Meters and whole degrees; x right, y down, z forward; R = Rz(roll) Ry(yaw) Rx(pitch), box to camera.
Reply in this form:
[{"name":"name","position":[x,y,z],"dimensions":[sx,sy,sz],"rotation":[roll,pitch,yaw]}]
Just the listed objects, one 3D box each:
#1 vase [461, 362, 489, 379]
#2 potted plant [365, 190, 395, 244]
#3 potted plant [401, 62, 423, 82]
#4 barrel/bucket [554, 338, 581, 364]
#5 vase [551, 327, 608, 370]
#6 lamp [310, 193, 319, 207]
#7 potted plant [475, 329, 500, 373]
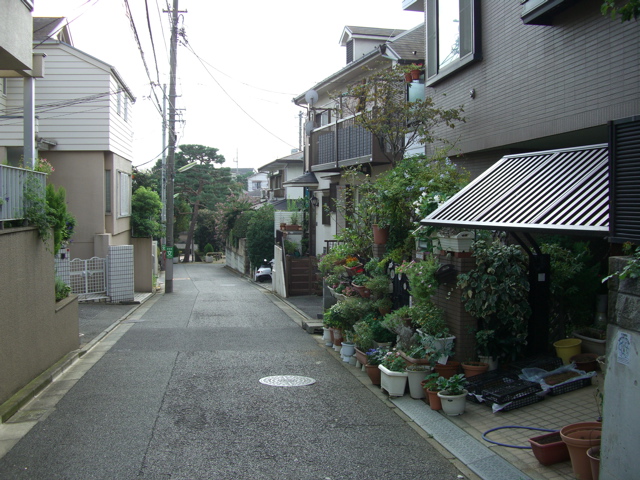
[{"name":"vase","position":[2.650,2.223,9.736],"dimensions":[0.278,0.199,0.287],"rotation":[-3,-3,3]},{"name":"potted plant","position":[1.452,-0.541,13.658],"dimensions":[0.449,1.354,1.524],"rotation":[1,2,-3]},{"name":"potted plant","position":[2.698,-4.902,16.521],"dimensions":[0.589,0.488,0.633],"rotation":[1,-6,-15]},{"name":"barrel/bucket","position":[4.284,1.904,9.703],"dimensions":[0.538,0.379,0.379],"rotation":[0,2,-28]},{"name":"vase","position":[4.407,1.868,9.661],"dimensions":[0.805,0.365,0.586],"rotation":[-6,19,14]},{"name":"lamp","position":[-0.234,-1.994,27.923],"dimensions":[0.392,0.721,0.845],"rotation":[1,2,-4]},{"name":"potted plant","position":[2.887,1.906,9.841],"dimensions":[0.359,0.688,0.270],"rotation":[1,2,17]}]
